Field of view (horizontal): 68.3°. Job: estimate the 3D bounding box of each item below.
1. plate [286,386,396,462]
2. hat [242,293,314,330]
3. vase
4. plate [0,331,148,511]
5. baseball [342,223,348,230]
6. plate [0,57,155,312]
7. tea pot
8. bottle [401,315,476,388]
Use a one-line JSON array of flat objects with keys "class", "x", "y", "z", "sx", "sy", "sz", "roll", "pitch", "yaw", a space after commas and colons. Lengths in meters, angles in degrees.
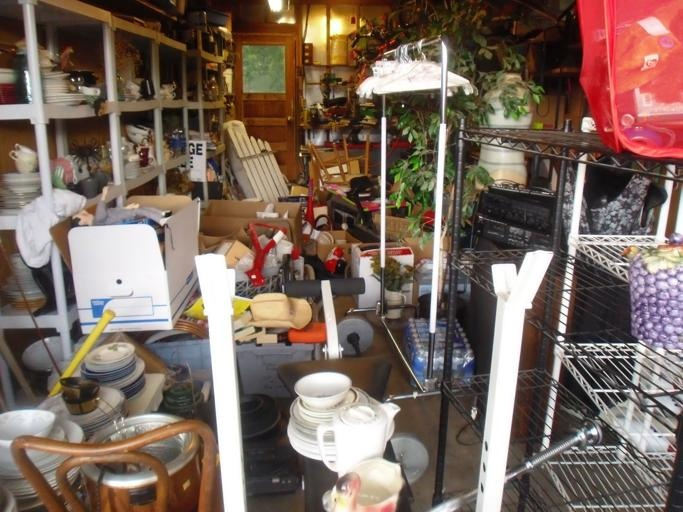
[{"class": "plate", "x": -0.018, "y": 0.486, "z": 1.370, "sx": 0.245, "sy": 0.071, "sz": 0.232, "roll": 9, "pitch": 28, "yaw": 18}, {"class": "hat", "x": -0.255, "y": 0.237, "z": 2.117, "sx": 0.221, "sy": 0.078, "sz": 0.153, "roll": 2, "pitch": 49, "yaw": -7}, {"class": "vase", "x": 0.963, "y": -0.730, "z": 2.934, "sx": 0.306, "sy": 0.677, "sz": 0.714, "roll": 1, "pitch": 13, "yaw": 15}, {"class": "plate", "x": -0.914, "y": 0.553, "z": 1.640, "sx": 0.365, "sy": 0.147, "sz": 0.355, "roll": 8, "pitch": 22, "yaw": 6}, {"class": "baseball", "x": 0.028, "y": -0.301, "z": 5.217, "sx": 0.067, "sy": 0.082, "sz": 0.065, "roll": 4, "pitch": -5, "yaw": -24}, {"class": "plate", "x": -1.232, "y": -0.235, "z": 2.157, "sx": 0.658, "sy": 0.878, "sz": 0.299, "roll": -26, "pitch": 20, "yaw": -39}, {"class": "tea pot", "x": 0.060, "y": 0.457, "z": 1.303, "sx": 0.227, "sy": 0.206, "sz": 0.146, "roll": -10, "pitch": 28, "yaw": -18}, {"class": "bottle", "x": 0.540, "y": 0.508, "z": 2.855, "sx": 0.311, "sy": 0.191, "sz": 0.442, "roll": 0, "pitch": 17, "yaw": 2}]
